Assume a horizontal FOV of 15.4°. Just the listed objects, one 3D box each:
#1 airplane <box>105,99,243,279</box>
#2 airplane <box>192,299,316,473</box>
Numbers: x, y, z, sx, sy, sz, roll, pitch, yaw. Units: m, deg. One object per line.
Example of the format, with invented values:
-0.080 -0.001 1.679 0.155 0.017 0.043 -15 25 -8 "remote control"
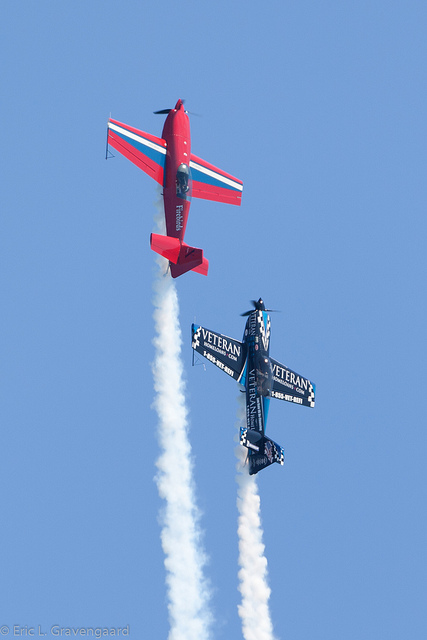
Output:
-1.337 -4.617 53.836 5.244 1.760 6.511 24 -53 8 "airplane"
1.495 2.384 50.948 1.481 5.643 4.339 -13 -26 37 "airplane"
